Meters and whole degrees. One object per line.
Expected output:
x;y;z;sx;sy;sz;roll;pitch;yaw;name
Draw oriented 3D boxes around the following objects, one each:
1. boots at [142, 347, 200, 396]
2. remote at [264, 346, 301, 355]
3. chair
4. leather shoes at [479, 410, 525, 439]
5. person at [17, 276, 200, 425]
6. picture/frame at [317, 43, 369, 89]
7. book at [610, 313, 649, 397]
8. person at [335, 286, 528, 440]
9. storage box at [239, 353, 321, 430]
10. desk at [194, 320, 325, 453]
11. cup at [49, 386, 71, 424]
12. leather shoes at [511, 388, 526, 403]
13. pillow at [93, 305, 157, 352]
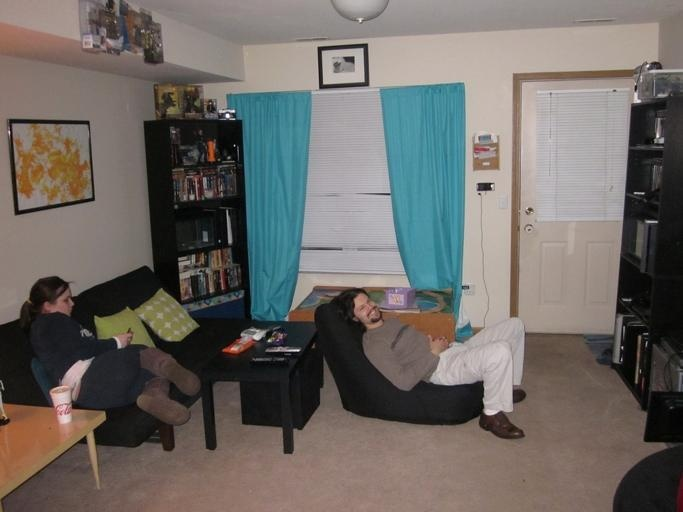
-1.185;0.803;3.738;0.448;0.164;0.230;37;57;-1;boots
-0.417;0.682;3.911;0.254;0.035;0.151;-1;14;3;remote
0.464;0.750;4.134;1.125;0.768;0.817;-2;13;8;chair
1.134;1.197;3.771;0.303;0.139;0.142;7;15;42;leather shoes
-1.574;0.601;3.653;1.202;0.835;0.469;6;9;0;person
0.038;-1.931;5.316;0.429;0.336;0.021;1;11;10;picture/frame
2.412;0.827;4.403;0.201;0.594;0.613;-2;6;10;book
0.657;0.759;4.149;1.448;0.942;0.854;-2;9;16;person
-0.463;0.834;4.122;0.459;0.539;0.882;1;8;10;storage box
-0.567;0.984;4.249;0.652;0.590;1.217;-1;9;10;desk
-1.617;0.879;3.105;0.128;0.200;0.125;-9;-10;-2;cup
1.421;1.110;4.225;0.138;0.048;0.110;3;15;22;leather shoes
-1.673;0.545;4.090;0.320;0.123;0.321;6;41;-45;pillow
